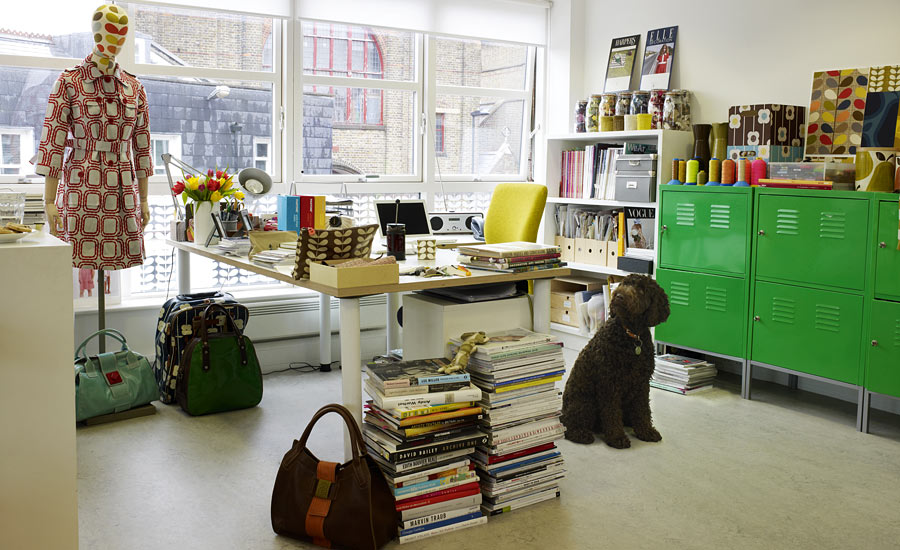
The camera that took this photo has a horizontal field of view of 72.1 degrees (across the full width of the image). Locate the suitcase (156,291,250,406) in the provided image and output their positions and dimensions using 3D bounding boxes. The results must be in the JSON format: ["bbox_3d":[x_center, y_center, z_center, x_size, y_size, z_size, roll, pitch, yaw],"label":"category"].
[{"bbox_3d":[-1.718,0.545,4.298,0.763,0.922,0.550,1,5,-33],"label":"suitcase"}]

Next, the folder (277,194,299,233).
[{"bbox_3d":[-1.085,-0.411,4.164,0.138,0.217,0.364,-4,15,-16],"label":"folder"}]

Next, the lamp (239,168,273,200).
[{"bbox_3d":[-1.389,-0.662,4.414,0.221,0.208,0.120,-6,-14,-27],"label":"lamp"}]

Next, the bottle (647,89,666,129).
[{"bbox_3d":[1.743,-1.384,5.184,0.124,0.300,0.107,5,15,16],"label":"bottle"}]

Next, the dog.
[{"bbox_3d":[1.046,0.540,3.866,0.654,1.050,0.324,-6,16,-21],"label":"dog"}]

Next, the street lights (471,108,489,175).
[{"bbox_3d":[0.306,-1.324,6.036,0.219,0.624,0.071,-13,20,-41],"label":"street lights"}]

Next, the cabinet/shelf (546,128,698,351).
[{"bbox_3d":[1.432,-0.284,4.963,0.621,1.667,1.860,-6,11,-37],"label":"cabinet/shelf"}]

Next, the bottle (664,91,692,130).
[{"bbox_3d":[1.927,-1.367,5.160,0.304,0.304,0.122,-4,15,-17],"label":"bottle"}]

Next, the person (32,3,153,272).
[{"bbox_3d":[-2.474,-0.940,4.303,0.717,1.796,0.368,-7,16,-25],"label":"person"}]

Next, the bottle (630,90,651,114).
[{"bbox_3d":[1.623,-1.445,5.239,0.171,0.176,0.191,4,13,17],"label":"bottle"}]

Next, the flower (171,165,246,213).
[{"bbox_3d":[-1.706,-0.583,4.360,0.366,0.211,0.338,0,4,-25],"label":"flower"}]

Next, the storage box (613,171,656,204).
[{"bbox_3d":[1.526,-0.721,5.141,0.230,0.265,0.408,-4,7,-34],"label":"storage box"}]

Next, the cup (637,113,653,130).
[{"bbox_3d":[1.638,-1.278,5.176,0.149,0.134,0.118,-1,11,-10],"label":"cup"}]

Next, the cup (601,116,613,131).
[{"bbox_3d":[1.387,-1.317,5.418,0.126,0.113,0.106,0,13,3],"label":"cup"}]

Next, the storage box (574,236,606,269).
[{"bbox_3d":[1.260,-0.204,5.531,0.243,0.165,0.246,3,2,5],"label":"storage box"}]

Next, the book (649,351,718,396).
[{"bbox_3d":[1.808,0.768,4.787,0.463,0.147,0.373,-6,11,-38],"label":"book"}]

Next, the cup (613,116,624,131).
[{"bbox_3d":[1.472,-1.307,5.350,0.125,0.132,0.121,-1,10,0],"label":"cup"}]

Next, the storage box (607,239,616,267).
[{"bbox_3d":[1.419,-0.180,5.378,0.049,0.219,0.104,-12,19,-40],"label":"storage box"}]

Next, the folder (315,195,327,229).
[{"bbox_3d":[-0.874,-0.420,4.171,0.080,0.193,0.134,-3,15,-13],"label":"folder"}]

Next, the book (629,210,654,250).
[{"bbox_3d":[1.626,-0.376,5.201,0.043,0.351,0.303,-9,13,-40],"label":"book"}]

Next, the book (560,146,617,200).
[{"bbox_3d":[1.273,-0.899,5.545,0.286,0.470,0.517,-4,9,-43],"label":"book"}]
